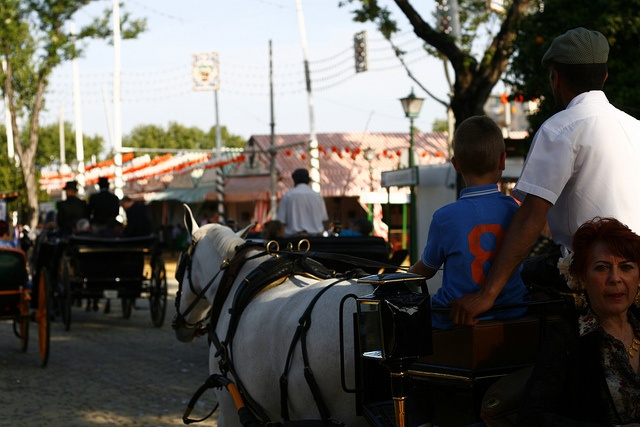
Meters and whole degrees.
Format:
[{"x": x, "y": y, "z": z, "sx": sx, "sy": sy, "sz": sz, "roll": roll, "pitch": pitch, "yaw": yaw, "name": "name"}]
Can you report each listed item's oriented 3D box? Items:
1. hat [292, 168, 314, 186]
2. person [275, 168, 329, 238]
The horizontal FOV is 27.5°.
[{"x": -0.360, "y": -0.714, "z": 25.667, "sx": 0.261, "sy": 0.328, "sz": 0.338, "roll": 0, "pitch": 2, "yaw": -3, "name": "hat"}, {"x": -0.352, "y": -0.269, "z": 25.895, "sx": 1.212, "sy": 2.050, "sz": 1.183, "roll": 0, "pitch": 14, "yaw": -1, "name": "person"}]
